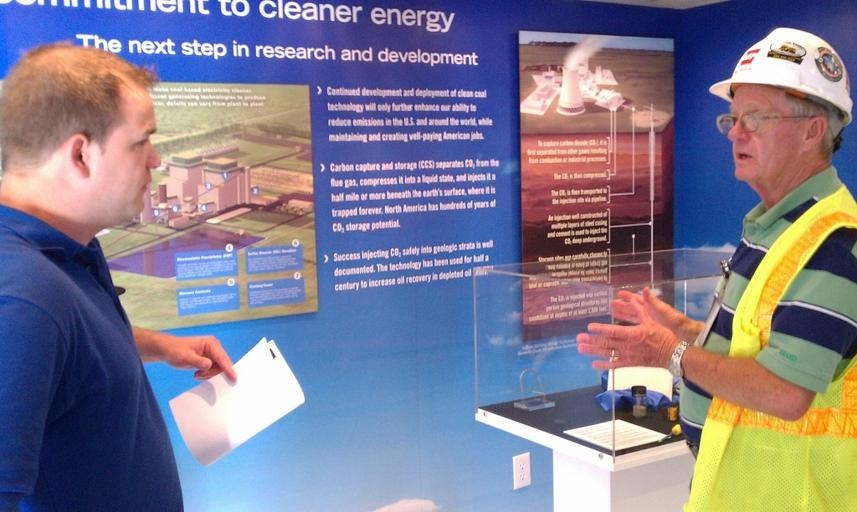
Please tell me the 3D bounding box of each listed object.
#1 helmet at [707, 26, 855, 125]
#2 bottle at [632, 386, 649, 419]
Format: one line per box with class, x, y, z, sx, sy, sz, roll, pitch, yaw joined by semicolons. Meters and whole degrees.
helmet;1.087;-0.518;1.967;0.361;0.189;0.270;23;0;-1
bottle;0.798;0.556;2.478;0.067;0.095;0.067;-1;-8;0
